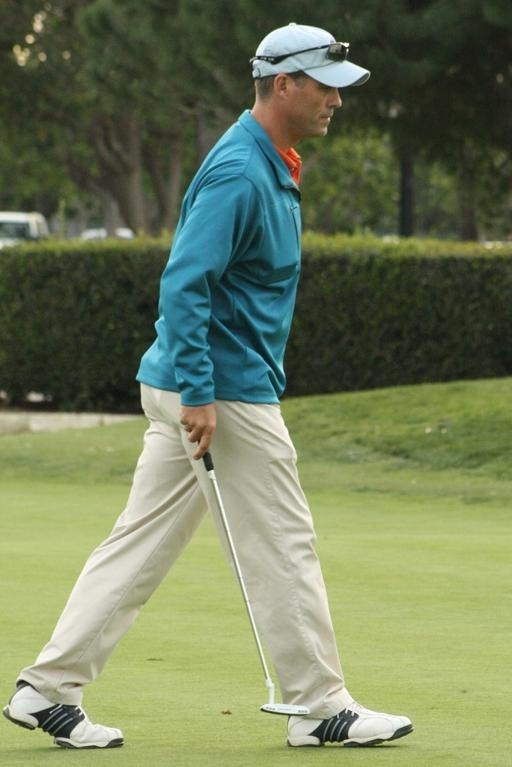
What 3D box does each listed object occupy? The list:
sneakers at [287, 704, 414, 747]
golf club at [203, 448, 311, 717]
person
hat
[{"bbox_3d":[0.211,0.770,3.283,0.299,0.134,0.108,-3,-7,11],"label":"sneakers"},{"bbox_3d":[-0.003,0.466,3.287,0.145,0.844,0.080,-13,-6,4],"label":"golf club"},{"bbox_3d":[-0.099,0.004,3.314,0.853,1.660,0.370,-2,5,0],"label":"person"},{"bbox_3d":[0.113,-0.758,3.359,0.267,0.158,0.193,-2,6,12],"label":"hat"}]
